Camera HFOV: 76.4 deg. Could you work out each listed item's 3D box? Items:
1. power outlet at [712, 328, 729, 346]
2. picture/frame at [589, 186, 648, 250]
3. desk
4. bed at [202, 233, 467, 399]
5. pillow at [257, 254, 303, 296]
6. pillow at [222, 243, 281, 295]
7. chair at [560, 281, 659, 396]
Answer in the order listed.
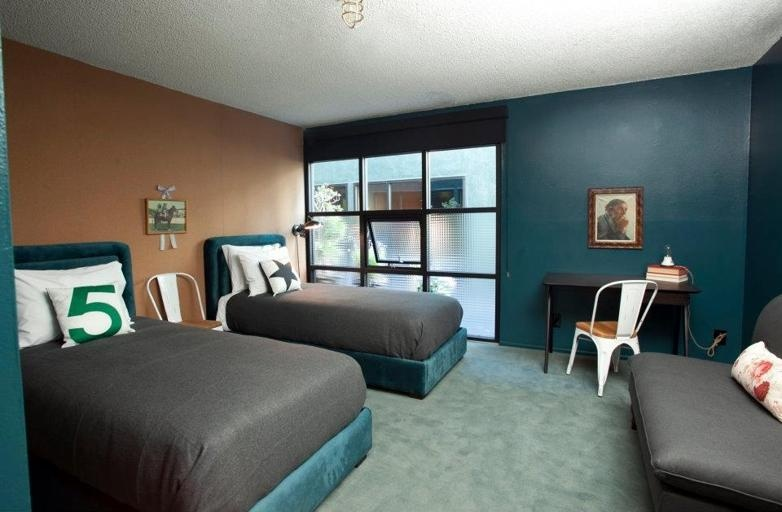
[{"bbox_3d":[3.456,0.846,5.200,0.182,0.238,0.028,4,15,29],"label":"power outlet"},{"bbox_3d":[2.524,-0.427,5.451,0.728,0.896,0.094,1,5,20],"label":"picture/frame"},{"bbox_3d":[2.358,0.725,5.220,1.417,0.901,0.757,2,9,20],"label":"desk"},{"bbox_3d":[-0.639,0.569,5.755,2.775,1.498,1.522,0,2,20],"label":"bed"},{"bbox_3d":[-1.222,0.208,5.555,0.437,0.397,0.132,-7,-23,-48],"label":"pillow"},{"bbox_3d":[-1.606,0.179,5.643,0.107,0.371,0.562,-14,1,28],"label":"pillow"},{"bbox_3d":[2.199,0.742,4.963,0.740,1.080,0.710,0,6,5],"label":"chair"}]
